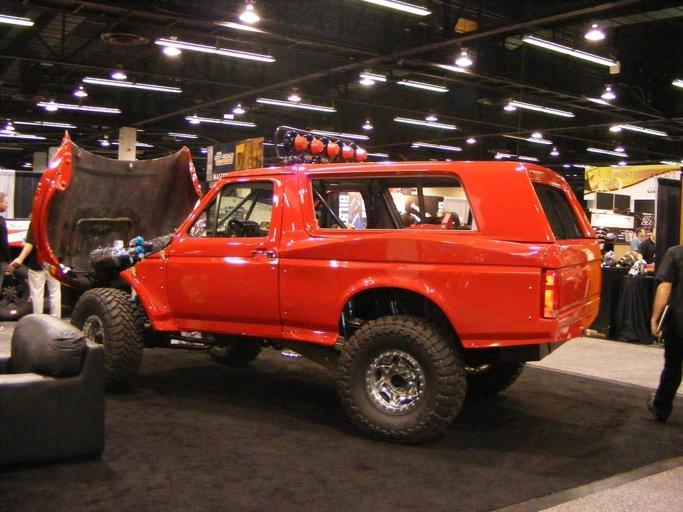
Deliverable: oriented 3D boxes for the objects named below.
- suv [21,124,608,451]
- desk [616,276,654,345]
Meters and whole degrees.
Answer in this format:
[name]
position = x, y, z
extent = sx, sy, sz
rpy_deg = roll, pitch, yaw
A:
[suv]
position = -0.556, -0.197, 5.790
extent = 6.322, 1.869, 2.430
rpy_deg = 1, 17, 23
[desk]
position = 5.627, 1.005, 9.461
extent = 0.606, 1.200, 0.392
rpy_deg = 6, 3, 40
